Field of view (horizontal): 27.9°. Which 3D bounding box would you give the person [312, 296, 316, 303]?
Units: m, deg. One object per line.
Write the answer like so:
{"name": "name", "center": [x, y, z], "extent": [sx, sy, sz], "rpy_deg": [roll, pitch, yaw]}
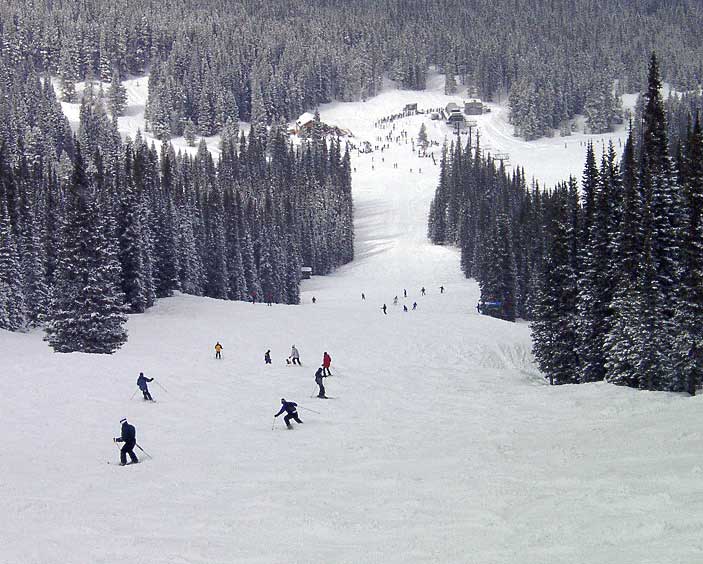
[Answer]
{"name": "person", "center": [-7.169, 3.181, 274.815], "extent": [0.924, 1.525, 0.589], "rpy_deg": [-1, -7, -10]}
